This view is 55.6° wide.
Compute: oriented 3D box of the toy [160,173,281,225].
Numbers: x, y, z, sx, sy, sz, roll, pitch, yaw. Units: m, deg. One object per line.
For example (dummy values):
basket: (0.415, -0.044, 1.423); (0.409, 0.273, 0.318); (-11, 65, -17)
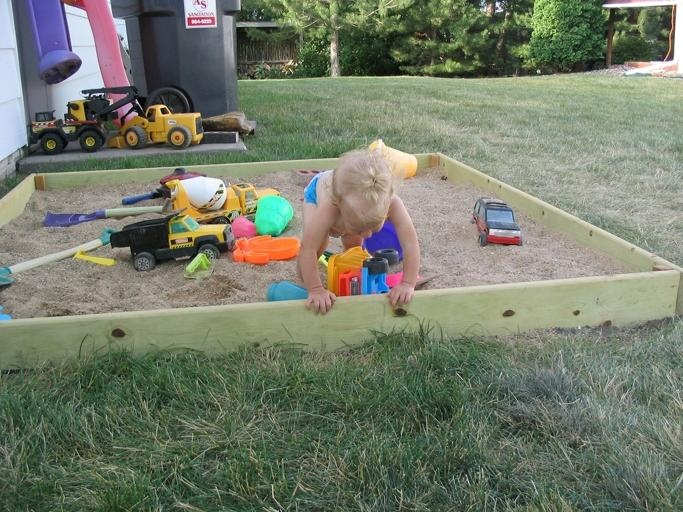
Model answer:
toy: (-0.818, -0.426, 4.439); (0.826, 0.398, 0.297); (-13, 31, -26)

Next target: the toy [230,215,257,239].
toy: (-0.639, -0.207, 4.253); (0.141, 0.137, 0.107); (-20, 29, -37)

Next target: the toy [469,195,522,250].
toy: (0.991, -0.214, 4.075); (0.311, 0.200, 0.373); (4, 22, 13)

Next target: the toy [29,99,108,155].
toy: (-2.656, -1.324, 6.572); (0.753, 0.585, 0.473); (1, 15, -7)

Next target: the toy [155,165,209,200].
toy: (-1.052, -0.500, 4.333); (0.351, 0.130, 0.252); (-4, 8, -34)

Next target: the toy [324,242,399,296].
toy: (0.102, 0.078, 3.309); (0.288, 0.117, 0.274); (2, 14, 12)

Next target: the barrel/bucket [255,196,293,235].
barrel/bucket: (-0.455, -0.267, 4.285); (0.200, 0.225, 0.247); (2, 21, 9)

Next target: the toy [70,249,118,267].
toy: (-1.466, 0.008, 3.860); (0.293, 0.053, 0.103); (6, 42, 13)

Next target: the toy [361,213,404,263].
toy: (0.260, -0.105, 3.996); (0.213, 0.241, 0.234); (-6, 11, -5)

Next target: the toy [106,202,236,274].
toy: (-1.008, -0.118, 3.812); (0.608, 0.316, 0.336); (-8, 22, -8)
